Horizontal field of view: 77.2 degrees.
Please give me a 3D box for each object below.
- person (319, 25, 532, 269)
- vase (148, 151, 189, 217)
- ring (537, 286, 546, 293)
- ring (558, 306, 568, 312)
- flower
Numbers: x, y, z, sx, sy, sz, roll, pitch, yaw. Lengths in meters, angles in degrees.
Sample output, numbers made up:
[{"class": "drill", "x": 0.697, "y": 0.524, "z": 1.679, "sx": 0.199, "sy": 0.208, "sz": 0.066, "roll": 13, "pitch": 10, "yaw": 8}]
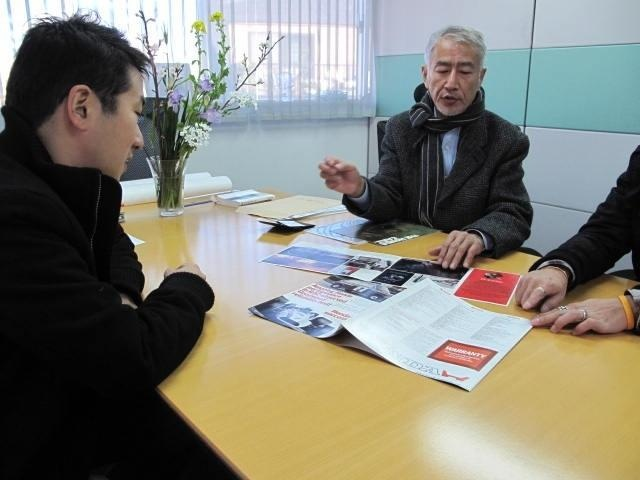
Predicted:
[{"class": "person", "x": 0.578, "y": -0.169, "z": 1.976, "sx": 0.832, "sy": 1.467, "sz": 0.833, "roll": 9, "pitch": 33, "yaw": 27}, {"class": "vase", "x": -0.736, "y": -0.267, "z": 1.908, "sx": 0.255, "sy": 0.306, "sz": 0.238, "roll": -3, "pitch": 12, "yaw": -13}, {"class": "ring", "x": 0.583, "y": 0.129, "z": 1.064, "sx": 0.015, "sy": 0.007, "sz": 0.020, "roll": -2, "pitch": 6, "yaw": -3}, {"class": "ring", "x": 0.610, "y": 0.169, "z": 1.007, "sx": 0.015, "sy": 0.004, "sz": 0.014, "roll": -7, "pitch": 10, "yaw": 1}, {"class": "flower", "x": -0.615, "y": -0.526, "z": 1.908, "sx": 0.445, "sy": 0.716, "sz": 0.585, "roll": 14, "pitch": 2, "yaw": 31}]
